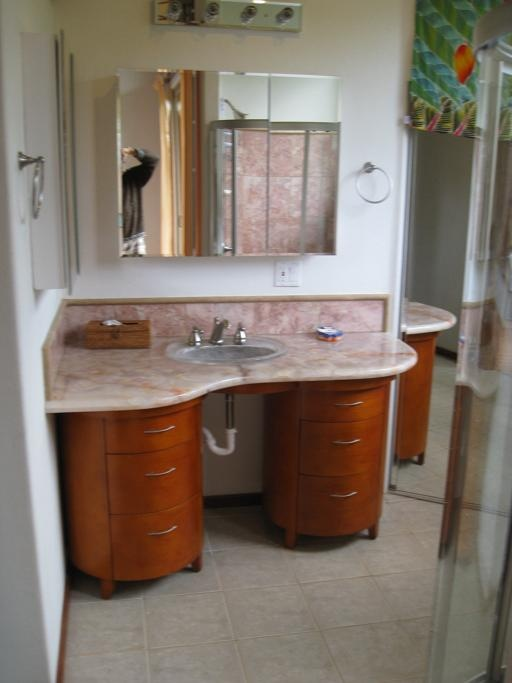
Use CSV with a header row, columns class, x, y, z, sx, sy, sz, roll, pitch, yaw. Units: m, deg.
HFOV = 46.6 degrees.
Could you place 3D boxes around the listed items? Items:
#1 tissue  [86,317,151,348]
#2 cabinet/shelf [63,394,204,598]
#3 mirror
class,x,y,z,sx,sy,sz,roll,pitch,yaw
tissue ,-0.563,-0.032,2.407,0.273,0.104,0.178,-2,11,-11
cabinet/shelf,-0.400,0.539,2.012,0.460,0.693,0.186,-3,12,-17
mirror,-0.129,-0.713,2.438,0.954,0.712,0.010,5,22,10
